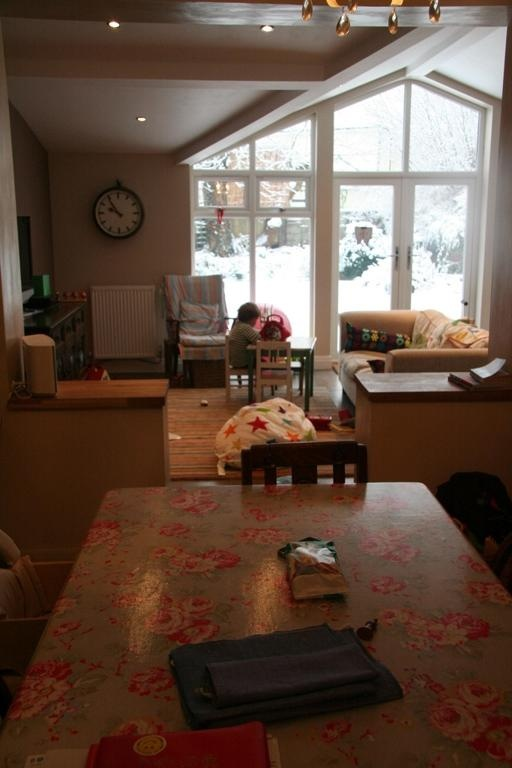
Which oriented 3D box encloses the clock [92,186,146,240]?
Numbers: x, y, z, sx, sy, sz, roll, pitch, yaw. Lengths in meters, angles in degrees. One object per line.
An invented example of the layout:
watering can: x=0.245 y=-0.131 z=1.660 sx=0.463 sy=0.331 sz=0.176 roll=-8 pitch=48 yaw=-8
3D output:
clock: x=-1.802 y=-2.237 z=7.227 sx=0.650 sy=0.742 sz=0.096 roll=0 pitch=7 yaw=-2

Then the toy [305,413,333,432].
toy: x=0.530 y=0.317 z=4.640 sx=0.157 sy=0.075 sz=0.124 roll=0 pitch=7 yaw=-7

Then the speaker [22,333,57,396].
speaker: x=-1.047 y=-0.083 z=2.678 sx=0.139 sy=0.232 sz=0.246 roll=0 pitch=24 yaw=-13

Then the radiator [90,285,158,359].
radiator: x=-1.800 y=-0.864 z=7.433 sx=0.950 sy=1.118 sz=0.083 roll=0 pitch=15 yaw=-4

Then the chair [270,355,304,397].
chair: x=0.297 y=-0.104 z=6.041 sx=0.331 sy=0.512 sz=0.382 roll=-1 pitch=11 yaw=0

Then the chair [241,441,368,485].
chair: x=0.148 y=0.251 z=1.752 sx=0.386 sy=0.144 sz=0.166 roll=0 pitch=6 yaw=-2

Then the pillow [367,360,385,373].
pillow: x=1.105 y=-0.171 z=5.198 sx=0.153 sy=0.094 sz=0.384 roll=2 pitch=7 yaw=11

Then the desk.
desk: x=0.327 y=-0.136 z=5.695 sx=0.801 sy=0.774 sz=0.695 roll=0 pitch=9 yaw=7

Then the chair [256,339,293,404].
chair: x=0.159 y=-0.113 z=5.508 sx=0.391 sy=0.728 sz=0.474 roll=3 pitch=17 yaw=12

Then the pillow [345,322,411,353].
pillow: x=1.294 y=-0.487 z=5.935 sx=0.383 sy=0.222 sz=0.124 roll=6 pitch=-23 yaw=11
